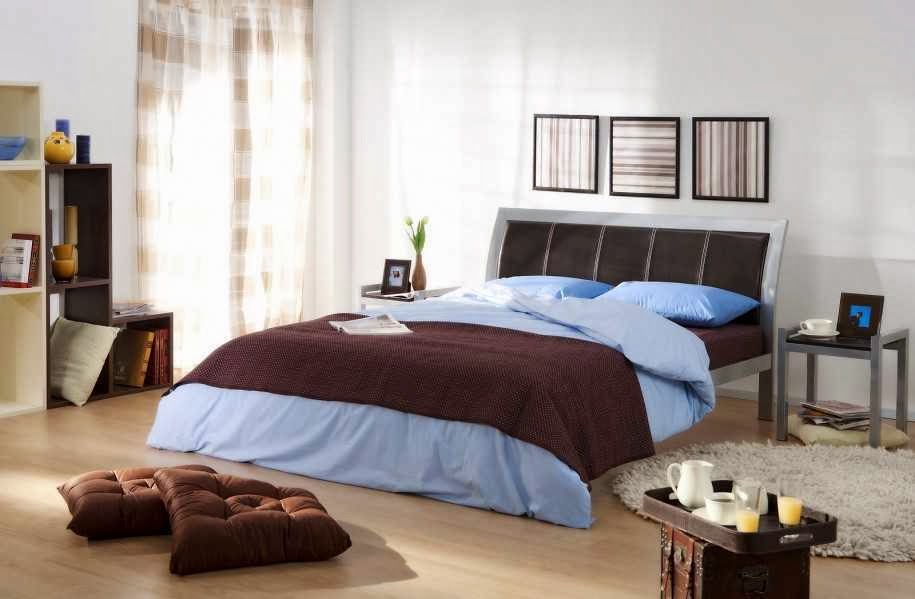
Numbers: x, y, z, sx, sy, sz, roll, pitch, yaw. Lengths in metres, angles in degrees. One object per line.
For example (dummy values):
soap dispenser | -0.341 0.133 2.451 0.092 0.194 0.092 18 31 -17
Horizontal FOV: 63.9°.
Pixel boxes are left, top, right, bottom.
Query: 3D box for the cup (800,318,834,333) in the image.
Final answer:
cup | 2.374 0.180 4.799 0.160 0.064 0.126 -2 2 14

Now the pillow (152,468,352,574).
pillow | -0.897 0.950 3.126 0.534 0.148 0.513 0 5 -22

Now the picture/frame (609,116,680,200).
picture/frame | 1.487 -1.109 5.712 0.709 0.720 0.056 4 7 28

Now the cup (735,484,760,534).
cup | 0.947 0.679 2.393 0.085 0.146 0.112 5 13 21

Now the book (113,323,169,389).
book | -2.416 0.438 5.617 0.389 0.463 0.138 4 0 23

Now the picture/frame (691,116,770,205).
picture/frame | 2.058 -1.038 5.448 0.704 0.720 0.056 6 11 31

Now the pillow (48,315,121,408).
pillow | -2.706 0.467 5.281 0.612 0.538 0.167 11 -13 39

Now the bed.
bed | 0.657 0.419 4.609 2.391 1.050 2.864 5 7 38

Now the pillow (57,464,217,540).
pillow | -1.538 0.925 3.307 0.413 0.118 0.427 0 3 -21

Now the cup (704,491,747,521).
cup | 0.901 0.696 2.479 0.096 0.060 0.081 0 6 -33

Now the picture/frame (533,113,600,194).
picture/frame | 0.918 -1.193 6.001 0.733 0.660 0.052 4 7 32

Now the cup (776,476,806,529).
cup | 1.131 0.676 2.482 0.084 0.157 0.165 6 14 26

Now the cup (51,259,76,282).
cup | -2.797 -0.205 5.256 0.161 0.113 0.142 4 2 14

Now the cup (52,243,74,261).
cup | -2.829 -0.336 5.260 0.126 0.078 0.115 2 2 0

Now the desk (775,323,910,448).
desk | 2.453 0.536 4.917 0.867 0.820 0.834 1 1 35
